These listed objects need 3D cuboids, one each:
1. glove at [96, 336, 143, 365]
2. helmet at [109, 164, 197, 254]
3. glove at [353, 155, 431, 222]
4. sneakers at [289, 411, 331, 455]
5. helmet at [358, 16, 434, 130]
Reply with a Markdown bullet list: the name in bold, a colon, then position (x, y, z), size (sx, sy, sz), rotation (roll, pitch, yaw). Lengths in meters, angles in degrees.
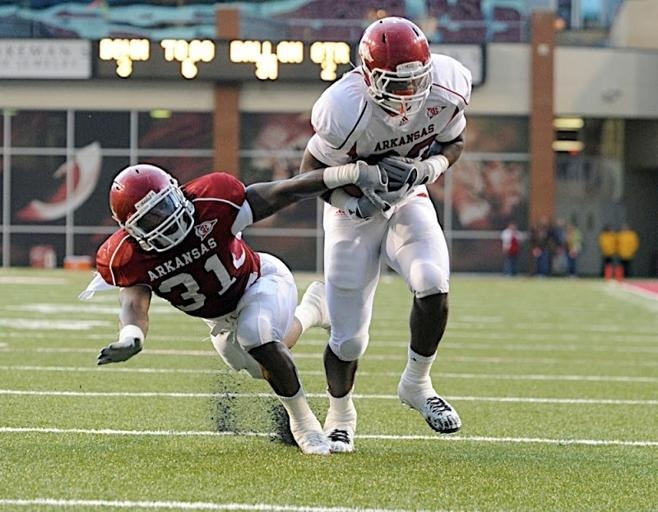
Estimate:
- **glove**: position (-1.317, 0.593, 8.210), size (0.309, 0.177, 0.207), rotation (-3, 9, -22)
- **helmet**: position (-1.167, -0.344, 8.660), size (0.503, 0.548, 0.669), rotation (-32, 18, -8)
- **glove**: position (0.428, -0.452, 8.667), size (0.525, 0.308, 0.256), rotation (-44, 11, -7)
- **sneakers**: position (-0.136, 1.153, 8.561), size (0.181, 0.241, 0.393), rotation (-8, 11, -44)
- **helmet**: position (0.442, -1.283, 8.630), size (0.467, 0.587, 0.578), rotation (-10, 31, -18)
